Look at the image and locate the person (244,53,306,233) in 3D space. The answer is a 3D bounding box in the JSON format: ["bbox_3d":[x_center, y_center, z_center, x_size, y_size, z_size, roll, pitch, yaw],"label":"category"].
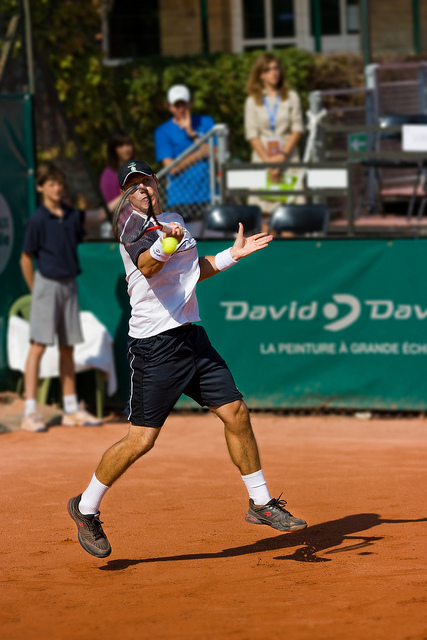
[{"bbox_3d":[0.424,-1.629,7.141,0.285,0.831,0.505,-7,7,-43],"label":"person"}]

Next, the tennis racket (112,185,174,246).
[{"bbox_3d":[-0.293,-0.434,3.767,0.234,0.249,0.355,-3,5,-7],"label":"tennis racket"}]

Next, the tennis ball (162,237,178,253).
[{"bbox_3d":[-0.168,-0.293,3.616,0.055,0.065,0.054,6,-37,5],"label":"tennis ball"}]

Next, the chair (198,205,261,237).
[{"bbox_3d":[0.128,-0.886,7.996,0.471,0.519,0.444,-1,6,-4],"label":"chair"}]
